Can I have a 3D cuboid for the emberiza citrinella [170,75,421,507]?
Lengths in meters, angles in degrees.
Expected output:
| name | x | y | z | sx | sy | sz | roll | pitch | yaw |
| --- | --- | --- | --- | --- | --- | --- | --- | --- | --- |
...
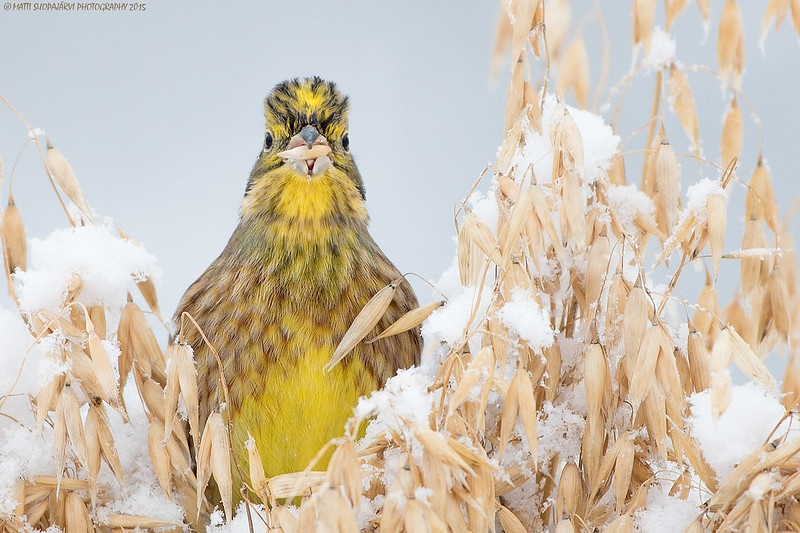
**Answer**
| name | x | y | z | sx | sy | sz | roll | pitch | yaw |
| --- | --- | --- | --- | --- | --- | --- | --- | --- | --- |
| emberiza citrinella | -0.258 | 0.066 | 2.464 | 0.473 | 1.152 | 0.746 | 1 | 1 | -3 |
